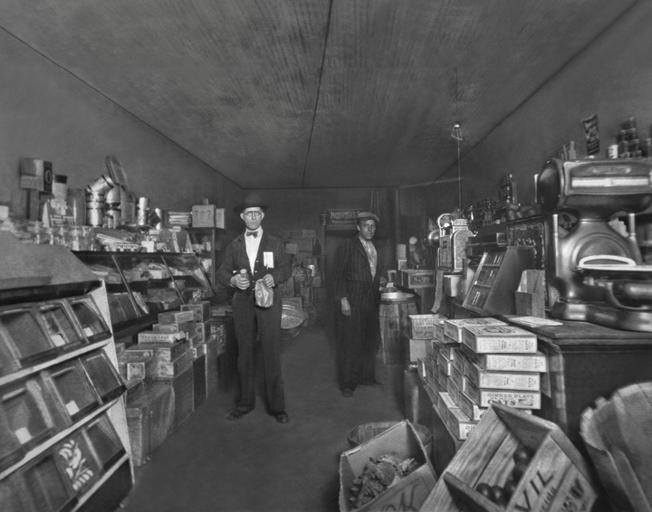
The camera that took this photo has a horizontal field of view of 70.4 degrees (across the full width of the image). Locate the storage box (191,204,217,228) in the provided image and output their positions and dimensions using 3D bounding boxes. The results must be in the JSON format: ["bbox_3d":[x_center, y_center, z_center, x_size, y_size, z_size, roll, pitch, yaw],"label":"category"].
[{"bbox_3d":[-1.793,-0.570,6.825,0.315,0.348,0.323,0,-4,-1],"label":"storage box"}]

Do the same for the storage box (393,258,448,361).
[{"bbox_3d":[0.976,0.570,4.756,0.498,1.585,0.951,-1,4,4],"label":"storage box"}]

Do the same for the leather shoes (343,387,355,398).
[{"bbox_3d":[0.232,1.378,4.708,0.117,0.074,0.129,0,5,-2],"label":"leather shoes"}]

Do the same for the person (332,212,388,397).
[{"bbox_3d":[0.373,0.487,4.901,0.495,1.845,0.575,-1,5,-10],"label":"person"}]

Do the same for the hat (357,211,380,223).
[{"bbox_3d":[0.453,-0.438,5.181,0.254,0.091,0.284,0,4,-7],"label":"hat"}]
